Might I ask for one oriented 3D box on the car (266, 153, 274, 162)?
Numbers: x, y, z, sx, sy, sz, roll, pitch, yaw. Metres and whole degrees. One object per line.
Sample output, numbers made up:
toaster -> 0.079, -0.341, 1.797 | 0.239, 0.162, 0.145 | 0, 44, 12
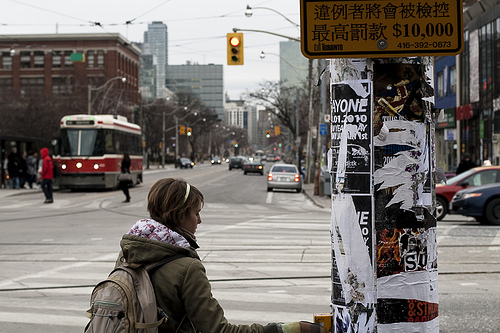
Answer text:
car -> 4.877, -2.141, 205.212 | 1.774, 1.364, 2.891 | 3, 3, 2

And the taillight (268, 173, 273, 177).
taillight -> 1.014, 0.383, 43.005 | 0.203, 0.160, 0.343 | 2, -2, -4

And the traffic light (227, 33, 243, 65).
traffic light -> -0.496, -3.964, 29.803 | 0.536, 1.061, 0.413 | -3, 3, -6

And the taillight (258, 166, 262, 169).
taillight -> 0.793, 0.033, 66.987 | 0.230, 0.130, 0.230 | 0, -11, -5

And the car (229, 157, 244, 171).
car -> -1.209, -0.270, 81.795 | 1.097, 0.806, 2.036 | 0, 4, 0

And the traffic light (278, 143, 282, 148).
traffic light -> 5.049, -3.620, 142.753 | 0.625, 0.443, 0.773 | 3, -4, 0

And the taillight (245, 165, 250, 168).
taillight -> -0.149, -0.048, 66.549 | 0.440, 0.195, 0.283 | -4, 3, -24

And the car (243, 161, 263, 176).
car -> 0.310, 0.100, 67.168 | 0.924, 0.693, 2.058 | 1, 5, 2

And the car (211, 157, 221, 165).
car -> -4.558, -0.749, 119.854 | 1.345, 1.138, 2.302 | 0, -6, -1

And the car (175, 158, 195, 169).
car -> -6.872, -0.331, 92.441 | 1.250, 0.922, 2.238 | 0, 5, 4

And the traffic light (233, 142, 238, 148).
traffic light -> -2.296, -3.856, 155.925 | 0.655, 0.944, 0.910 | -2, 6, -10

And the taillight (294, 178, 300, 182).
taillight -> 2.283, 0.604, 42.528 | 0.164, 0.172, 0.040 | -12, -2, 5

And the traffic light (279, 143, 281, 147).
traffic light -> 4.933, -3.528, 140.881 | 0.395, 0.412, 0.481 | 8, -22, -6
